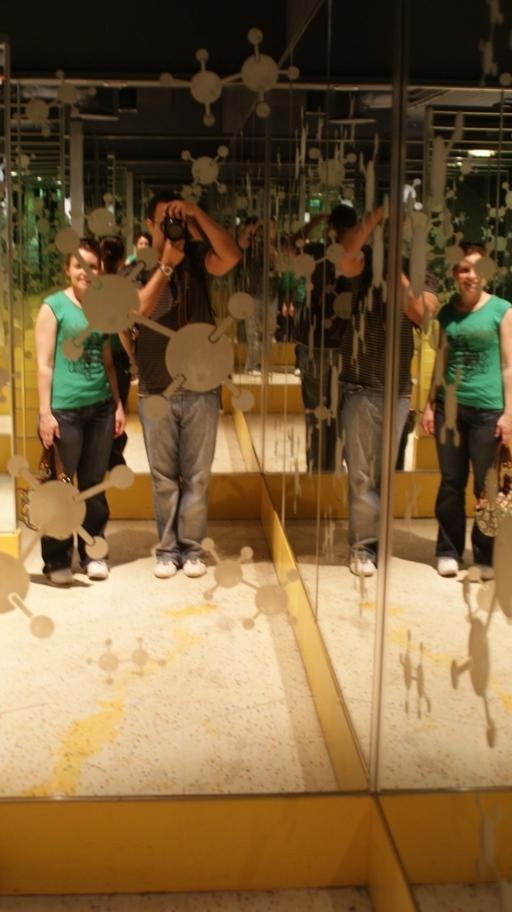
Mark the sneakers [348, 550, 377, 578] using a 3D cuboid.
[{"bbox_3d":[0.183,0.181,1.093,0.042,0.058,0.131,1,-7,2],"label":"sneakers"}]

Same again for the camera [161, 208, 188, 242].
[{"bbox_3d":[-0.125,-0.339,0.955,0.032,0.038,0.036,0,-9,-6],"label":"camera"}]
